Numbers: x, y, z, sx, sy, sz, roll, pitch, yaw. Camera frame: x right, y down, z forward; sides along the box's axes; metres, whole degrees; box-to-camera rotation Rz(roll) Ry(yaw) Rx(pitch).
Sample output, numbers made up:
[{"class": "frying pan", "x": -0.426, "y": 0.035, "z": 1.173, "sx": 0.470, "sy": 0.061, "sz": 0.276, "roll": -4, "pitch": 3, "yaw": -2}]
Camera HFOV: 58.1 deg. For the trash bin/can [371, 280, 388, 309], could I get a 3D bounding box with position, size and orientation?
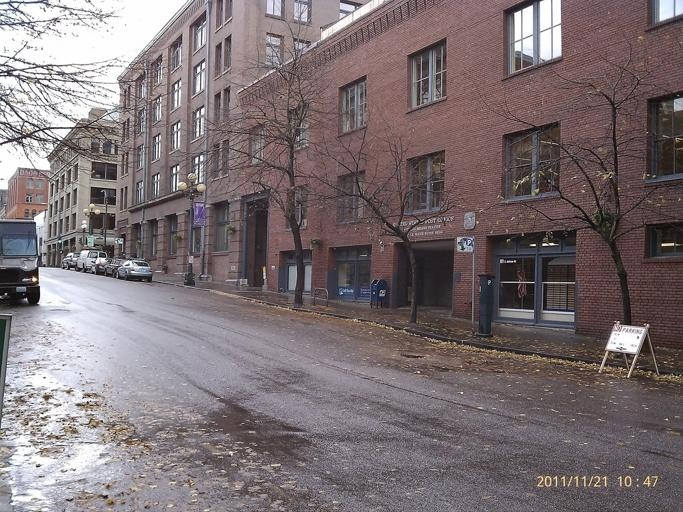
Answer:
[{"class": "trash bin/can", "x": 1.772, "y": 1.791, "z": 29.378, "sx": 0.800, "sy": 1.340, "sz": 0.587, "roll": 2, "pitch": 3, "yaw": -5}]
